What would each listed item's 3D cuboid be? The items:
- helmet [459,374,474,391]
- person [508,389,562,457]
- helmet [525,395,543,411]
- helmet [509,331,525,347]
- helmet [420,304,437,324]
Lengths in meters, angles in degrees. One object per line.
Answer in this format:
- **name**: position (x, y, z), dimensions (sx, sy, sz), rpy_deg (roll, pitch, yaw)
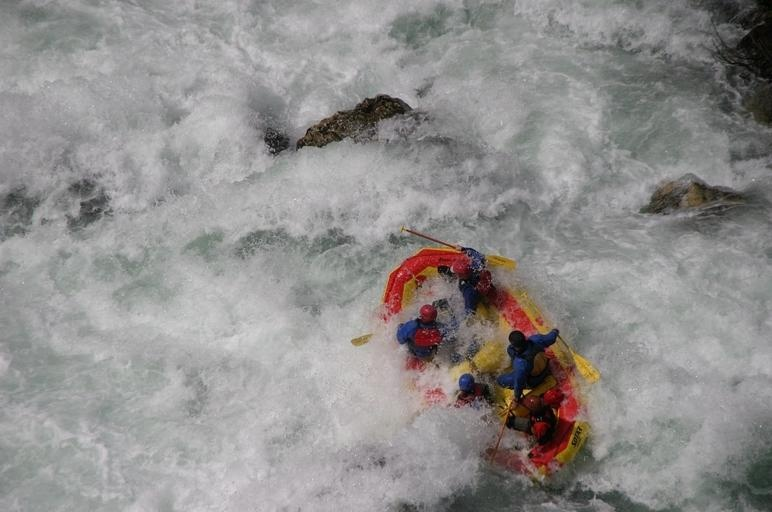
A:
- **helmet**: position (2.264, 3.578, 26.206), dimensions (0.421, 0.327, 0.424), rpy_deg (-29, 76, -4)
- **person**: position (4.186, 4.620, 25.870), dimensions (0.901, 1.437, 1.052), rpy_deg (31, 76, 16)
- **helmet**: position (4.096, 4.073, 25.517), dimensions (0.412, 0.255, 0.423), rpy_deg (-6, 80, 3)
- **helmet**: position (3.642, 2.323, 25.805), dimensions (0.415, 0.560, 0.450), rpy_deg (-1, 82, 6)
- **helmet**: position (1.212, 1.630, 26.534), dimensions (0.389, 0.454, 0.512), rpy_deg (-12, 94, 27)
